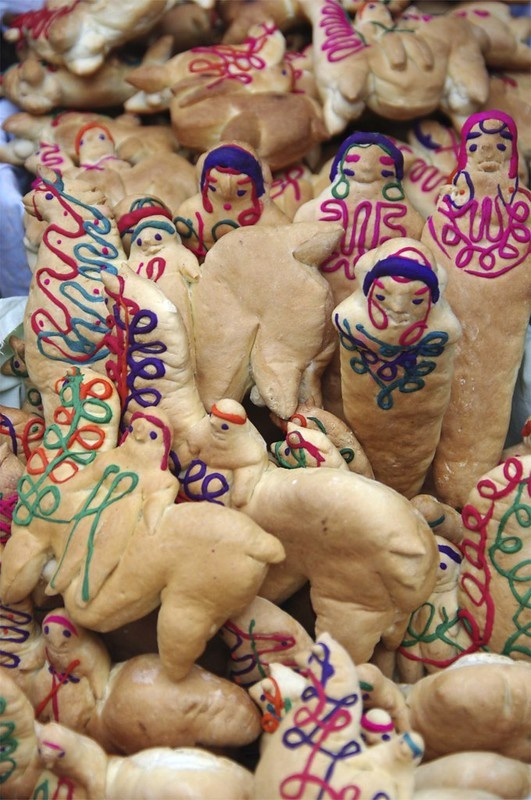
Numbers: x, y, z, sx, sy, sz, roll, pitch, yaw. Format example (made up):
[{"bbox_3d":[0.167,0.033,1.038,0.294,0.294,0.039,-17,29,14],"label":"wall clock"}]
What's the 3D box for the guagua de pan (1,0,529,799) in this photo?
[{"bbox_3d":[-0.088,0.077,1.308,0.797,0.281,0.967,0,66,1],"label":"guagua de pan"}]
